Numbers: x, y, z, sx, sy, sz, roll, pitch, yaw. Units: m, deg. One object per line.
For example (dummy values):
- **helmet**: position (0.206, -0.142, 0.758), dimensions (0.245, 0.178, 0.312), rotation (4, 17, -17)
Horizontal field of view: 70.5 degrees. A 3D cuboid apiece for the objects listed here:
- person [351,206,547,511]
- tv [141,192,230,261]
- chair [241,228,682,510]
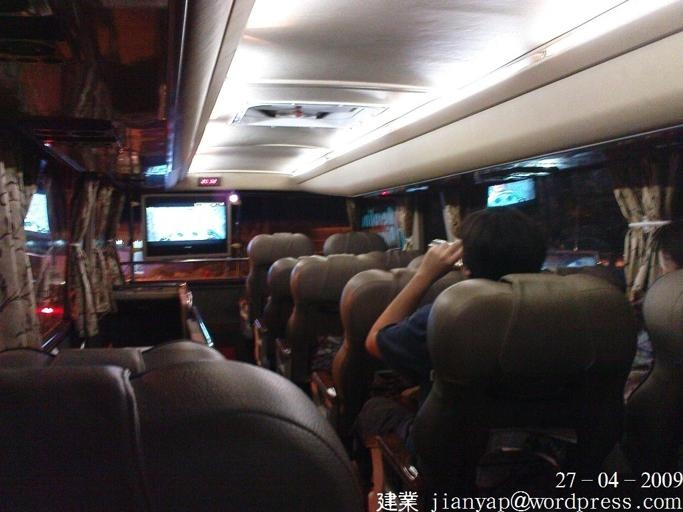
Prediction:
- **person**: position (0.393, 0.518, 1.983), dimensions (0.493, 1.462, 0.935), rotation (5, 7, -11)
- **tv**: position (-2.163, -0.418, 6.536), dimensions (0.953, 0.673, 0.128), rotation (0, 1, -13)
- **chair**: position (0.477, 0.400, 2.452), dimensions (1.160, 1.604, 1.383), rotation (3, 3, -5)
